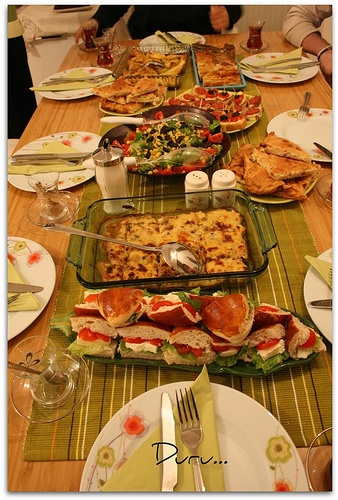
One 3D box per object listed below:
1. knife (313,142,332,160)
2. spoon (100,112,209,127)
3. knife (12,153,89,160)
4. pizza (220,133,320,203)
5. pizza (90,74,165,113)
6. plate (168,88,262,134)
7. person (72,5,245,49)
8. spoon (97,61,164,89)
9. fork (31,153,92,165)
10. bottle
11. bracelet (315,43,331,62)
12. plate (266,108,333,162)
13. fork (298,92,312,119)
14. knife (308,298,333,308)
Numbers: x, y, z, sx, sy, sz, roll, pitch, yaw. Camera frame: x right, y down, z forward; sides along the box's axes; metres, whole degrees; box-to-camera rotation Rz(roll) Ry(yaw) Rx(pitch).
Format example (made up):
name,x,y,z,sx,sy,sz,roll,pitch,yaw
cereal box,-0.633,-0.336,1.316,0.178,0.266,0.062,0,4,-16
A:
name,x,y,z,sx,sy,sz,roll,pitch,yaw
knife,0.792,-0.516,1.866,0.039,0.025,0.175,-34,38,23
spoon,-0.066,-0.781,2.150,0.538,0.055,0.178,6,34,8
knife,-0.653,-0.533,2.036,0.436,0.021,0.050,2,35,2
pizza,0.491,-0.385,1.757,0.366,0.109,0.363,-28,59,-24
pizza,-0.268,-1.040,2.430,0.340,0.100,0.342,6,57,7
plate,0.304,-0.920,2.283,0.497,0.117,0.387,15,52,14
person,-0.005,-2.398,3.745,1.390,0.192,0.799,-1,42,-3
spoon,-0.250,-1.406,2.785,0.370,0.121,0.249,-2,55,11
fork,-0.602,-0.512,2.021,0.346,0.037,0.080,-2,45,2
bottle,-0.240,-0.346,1.629,0.191,0.296,0.285,-8,32,-5
bracelet,1.169,-1.492,2.733,0.135,0.133,0.097,-18,32,-26
plate,0.783,-0.690,2.067,0.400,0.046,0.400,-5,47,-2
fork,0.836,-0.880,2.212,0.067,0.054,0.368,15,49,9
knife,0.489,0.174,1.154,0.089,0.004,0.026,-4,53,35
